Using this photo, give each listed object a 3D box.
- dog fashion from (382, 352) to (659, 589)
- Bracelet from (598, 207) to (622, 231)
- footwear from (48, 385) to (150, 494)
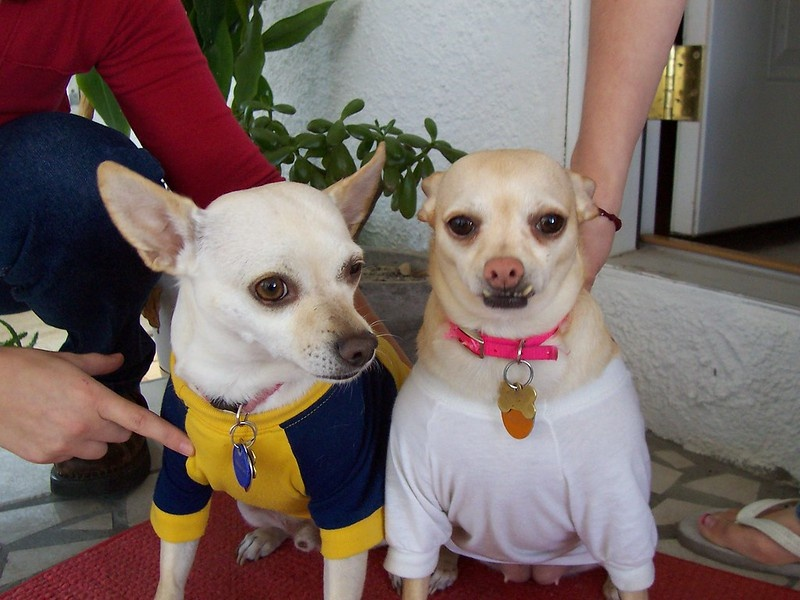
[{"bbox_3d":[0.249,0.370,1.433,0.492,0.490,0.273,3,30,14],"label":"dog fashion"},{"bbox_3d":[0.494,-0.184,1.565,0.053,0.027,0.072,33,4,0],"label":"Bracelet"},{"bbox_3d":[-0.945,0.477,2.301,0.249,0.252,0.566,2,15,0],"label":"footwear"}]
